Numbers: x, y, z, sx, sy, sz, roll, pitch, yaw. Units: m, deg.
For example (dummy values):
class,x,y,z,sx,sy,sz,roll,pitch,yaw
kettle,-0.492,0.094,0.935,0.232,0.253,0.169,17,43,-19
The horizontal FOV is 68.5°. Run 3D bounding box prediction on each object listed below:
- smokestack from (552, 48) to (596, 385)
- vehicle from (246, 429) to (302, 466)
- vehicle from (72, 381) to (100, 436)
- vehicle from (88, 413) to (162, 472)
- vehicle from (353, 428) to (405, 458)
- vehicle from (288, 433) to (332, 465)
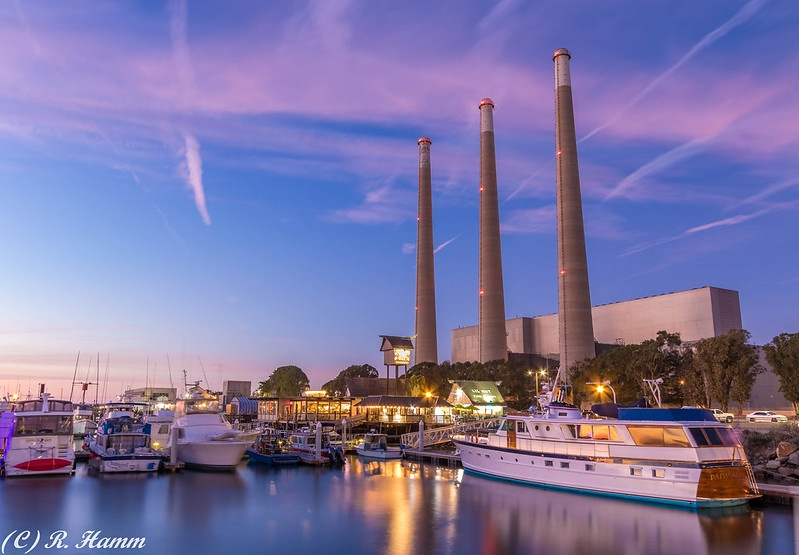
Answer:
class,x,y,z,sx,sy,sz,roll,pitch,yaw
smokestack,32.411,-13.653,112.037,4.052,65.110,5.688,4,-6,-41
vehicle,-14.698,20.062,67.520,3.100,3.049,7.204,8,-19,-30
vehicle,-51.009,20.711,94.207,4.427,8.506,15.066,3,-6,-31
vehicle,-28.801,17.709,61.453,5.471,4.626,12.905,8,-21,-29
vehicle,-2.528,20.865,72.000,6.010,2.657,2.760,-5,-7,39
vehicle,-10.048,19.641,67.773,2.678,2.787,6.709,5,-7,-31
